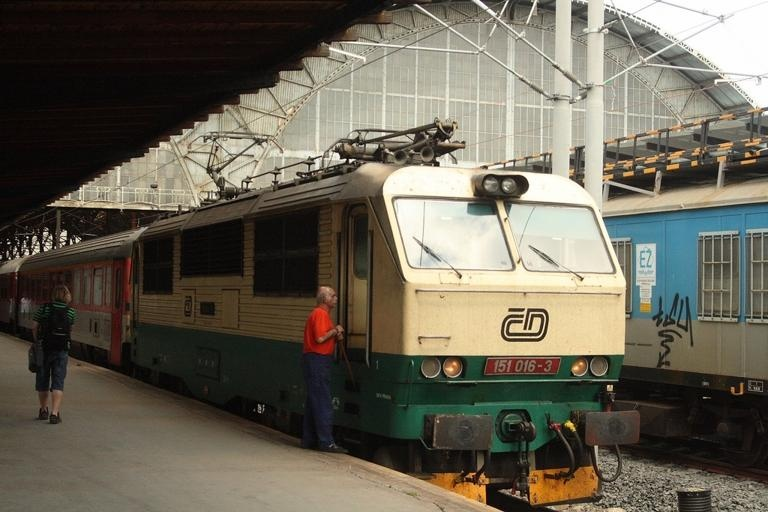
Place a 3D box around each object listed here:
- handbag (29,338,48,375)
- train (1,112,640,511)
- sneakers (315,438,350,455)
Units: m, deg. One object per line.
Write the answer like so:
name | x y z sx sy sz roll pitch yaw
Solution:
handbag | -5.947 1.774 14.345 0.265 0.452 0.329 -7 -6 0
train | -3.140 1.093 22.994 4.652 7.755 25.290 1 -1 -33
sneakers | -0.720 2.876 12.443 0.570 0.220 0.188 0 -3 2
